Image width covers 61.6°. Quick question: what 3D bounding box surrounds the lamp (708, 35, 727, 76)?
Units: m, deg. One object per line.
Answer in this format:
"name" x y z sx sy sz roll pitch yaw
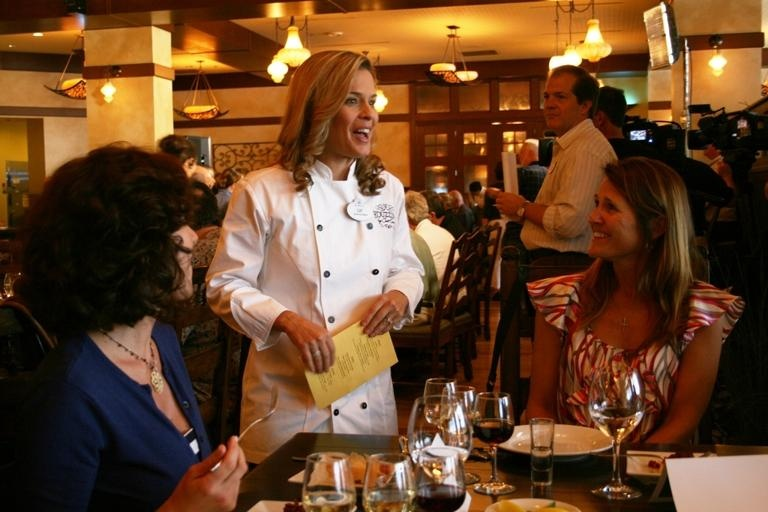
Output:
"lamp" 4.240 -2.540 8.158 0.235 0.501 0.184 1 13 11

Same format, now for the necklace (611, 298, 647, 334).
"necklace" 0.902 0.221 2.396 0.111 0.108 0.029 -3 -14 37

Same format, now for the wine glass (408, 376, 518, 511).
"wine glass" 0.186 0.500 1.772 0.290 0.310 0.245 0 -7 -4

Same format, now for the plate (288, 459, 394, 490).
"plate" -0.091 0.509 1.502 0.153 0.036 0.208 1 0 1

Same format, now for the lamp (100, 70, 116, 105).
"lamp" -3.763 -2.267 8.797 0.198 0.339 0.205 -8 14 -25

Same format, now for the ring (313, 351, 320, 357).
"ring" -0.227 0.324 2.151 0.018 0.013 0.018 2 -2 0

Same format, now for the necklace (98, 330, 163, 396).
"necklace" -0.658 0.292 1.751 0.154 0.079 0.154 20 -7 1

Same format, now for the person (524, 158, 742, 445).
"person" 0.900 0.146 2.382 0.750 0.988 0.495 5 15 29

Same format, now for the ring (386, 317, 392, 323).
"ring" 0.017 0.227 2.299 0.021 0.020 0.007 2 0 -1

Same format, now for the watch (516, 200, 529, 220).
"watch" 0.759 -0.250 3.541 0.058 0.096 0.095 28 13 31

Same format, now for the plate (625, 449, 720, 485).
"plate" 0.755 0.574 1.788 0.152 0.027 0.155 -2 -2 3
